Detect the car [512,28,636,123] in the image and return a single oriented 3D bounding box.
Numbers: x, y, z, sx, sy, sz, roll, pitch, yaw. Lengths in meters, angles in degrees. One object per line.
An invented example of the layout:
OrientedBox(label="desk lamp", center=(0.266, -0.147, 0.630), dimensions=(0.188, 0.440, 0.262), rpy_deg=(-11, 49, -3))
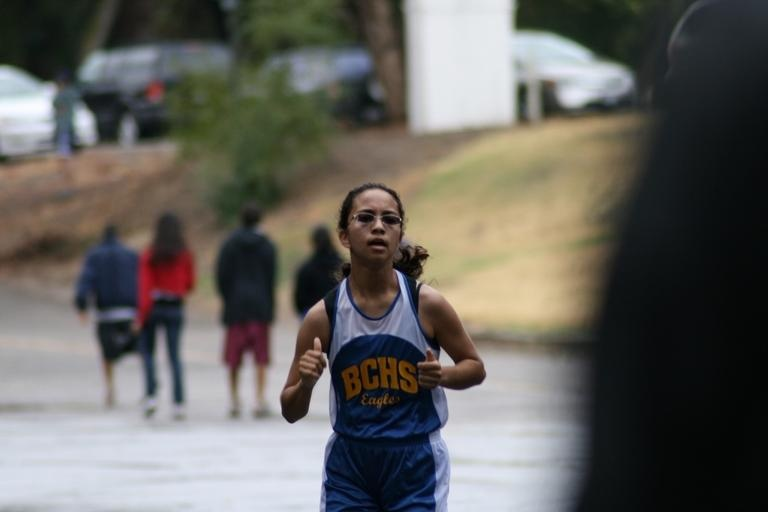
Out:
OrientedBox(label="car", center=(2.570, -2.601, 23.339), dimensions=(1.553, 0.826, 0.893), rpy_deg=(1, 6, 36))

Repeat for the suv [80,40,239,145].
OrientedBox(label="suv", center=(-4.601, -3.112, 32.134), dimensions=(1.719, 1.418, 2.857), rpy_deg=(-9, 20, -31))
